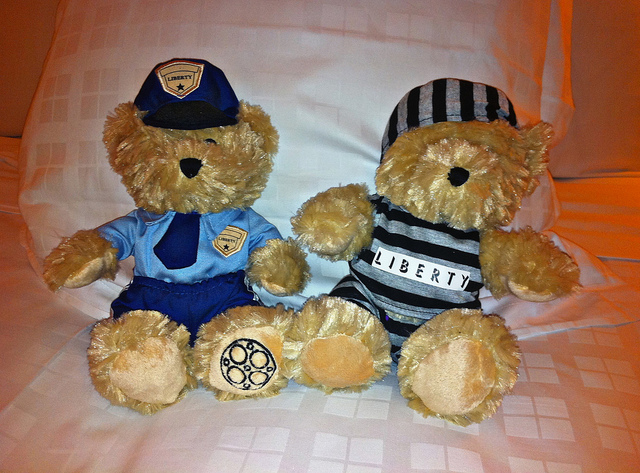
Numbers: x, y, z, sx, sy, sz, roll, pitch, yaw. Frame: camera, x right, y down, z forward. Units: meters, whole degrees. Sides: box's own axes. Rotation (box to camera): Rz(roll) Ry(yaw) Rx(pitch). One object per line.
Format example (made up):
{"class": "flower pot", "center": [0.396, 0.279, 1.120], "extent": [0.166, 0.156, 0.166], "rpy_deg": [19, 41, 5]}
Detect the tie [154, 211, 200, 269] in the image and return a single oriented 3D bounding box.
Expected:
{"class": "tie", "center": [-0.294, 0.015, 1.110], "extent": [0.088, 0.030, 0.118], "rpy_deg": [5, 76, 3]}

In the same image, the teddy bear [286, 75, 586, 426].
{"class": "teddy bear", "center": [0.201, 0.035, 1.060], "extent": [0.526, 0.492, 0.359], "rpy_deg": [24, 22, 3]}
